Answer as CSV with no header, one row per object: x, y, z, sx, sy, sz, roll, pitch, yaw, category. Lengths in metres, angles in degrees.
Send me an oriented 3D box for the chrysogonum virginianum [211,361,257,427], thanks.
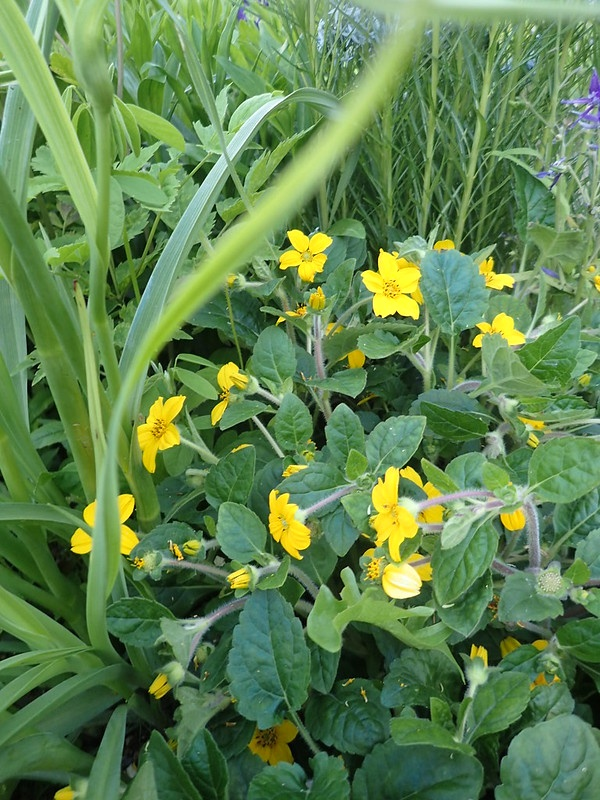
-0.068,-0.009,0.819,0.029,0.069,0.066,18,63,-33,chrysogonum virginianum

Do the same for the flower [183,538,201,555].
-0.114,0.156,0.702,0.017,0.014,0.008,22,-6,-7,flower
